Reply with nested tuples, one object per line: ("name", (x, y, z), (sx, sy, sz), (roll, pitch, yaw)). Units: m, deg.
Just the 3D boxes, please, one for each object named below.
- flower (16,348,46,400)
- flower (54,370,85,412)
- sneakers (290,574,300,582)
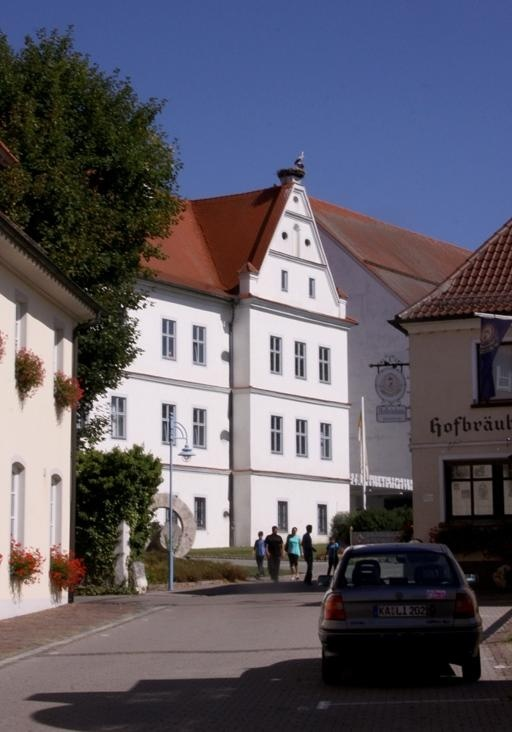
("flower", (-3.683, 0.034, 19.493), (0.592, 0.588, 0.443), (11, -59, -27))
("flower", (-3.478, 0.402, 22.251), (0.424, 0.589, 0.574), (-8, -48, -5))
("sneakers", (1.055, 5.644, 32.691), (0.118, 0.266, 0.393), (2, -7, -9))
